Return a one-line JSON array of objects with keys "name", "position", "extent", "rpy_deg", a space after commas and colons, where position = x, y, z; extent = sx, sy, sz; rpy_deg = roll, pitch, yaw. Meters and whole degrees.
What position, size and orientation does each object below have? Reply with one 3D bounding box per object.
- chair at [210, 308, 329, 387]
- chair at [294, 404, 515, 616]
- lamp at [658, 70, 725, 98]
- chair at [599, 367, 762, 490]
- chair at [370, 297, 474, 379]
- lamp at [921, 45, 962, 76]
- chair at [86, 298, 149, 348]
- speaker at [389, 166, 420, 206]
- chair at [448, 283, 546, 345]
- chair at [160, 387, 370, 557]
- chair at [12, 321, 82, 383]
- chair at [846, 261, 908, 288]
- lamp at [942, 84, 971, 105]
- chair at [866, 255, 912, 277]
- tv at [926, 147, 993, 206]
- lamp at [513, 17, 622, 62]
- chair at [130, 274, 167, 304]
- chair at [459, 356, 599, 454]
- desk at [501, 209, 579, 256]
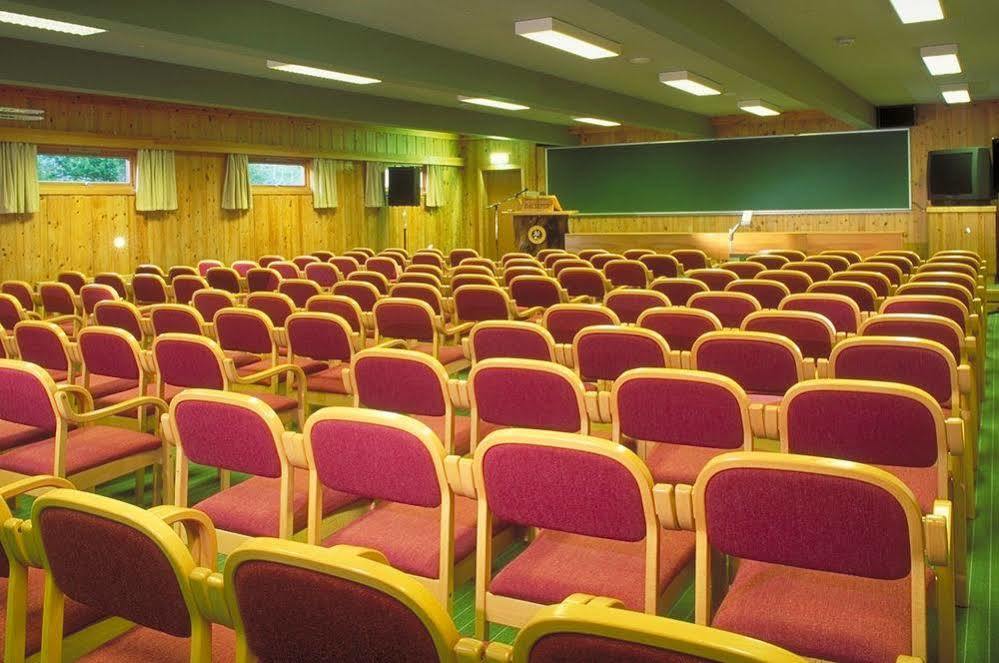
[{"name": "chair", "position": [-1.628, 0.057, 4.947], "extent": [0.526, 0.766, 0.578], "rpy_deg": [6, 15, 21]}, {"name": "chair", "position": [-0.389, 0.493, 2.732], "extent": [0.694, 1.057, 0.761], "rpy_deg": [3, 9, 23]}, {"name": "lamp", "position": [2.977, -3.839, 10.810], "extent": [0.628, 0.152, 1.389], "rpy_deg": [6, 7, 31]}, {"name": "chair", "position": [0.797, 0.362, 2.905], "extent": [0.504, 0.702, 0.530], "rpy_deg": [4, 17, 24]}, {"name": "chair", "position": [-0.643, 0.139, 5.557], "extent": [0.712, 0.917, 0.741], "rpy_deg": [-2, 13, 3]}, {"name": "lamp", "position": [6.066, -3.686, 9.516], "extent": [0.437, 0.148, 0.706], "rpy_deg": [5, -3, 39]}, {"name": "chair", "position": [-2.632, -0.052, 4.774], "extent": [0.293, 0.383, 0.275], "rpy_deg": [9, 24, 5]}, {"name": "speaker", "position": [-1.922, -2.892, 13.839], "extent": [0.625, 0.744, 0.428], "rpy_deg": [1, 7, -11]}, {"name": "chair", "position": [-0.085, -0.186, 5.840], "extent": [0.500, 0.730, 0.530], "rpy_deg": [6, 21, 22]}, {"name": "chair", "position": [-0.977, 0.494, 2.950], "extent": [0.631, 0.923, 0.693], "rpy_deg": [4, 13, 19]}, {"name": "chair", "position": [-2.606, 0.131, 3.977], "extent": [0.296, 0.429, 0.282], "rpy_deg": [9, 16, 8]}, {"name": "chair", "position": [3.439, -0.510, 6.309], "extent": [0.388, 0.176, 0.374], "rpy_deg": [8, 10, 30]}, {"name": "lamp", "position": [7.888, -4.082, 11.947], "extent": [0.496, 0.115, 0.448], "rpy_deg": [13, -12, -37]}, {"name": "chair", "position": [3.925, -0.646, 6.977], "extent": [0.332, 0.331, 0.323], "rpy_deg": [6, 17, 29]}, {"name": "tv", "position": [8.556, -2.865, 12.817], "extent": [0.618, 1.079, 1.128], "rpy_deg": [-7, 6, -41]}, {"name": "lamp", "position": [0.775, -3.264, 7.788], "extent": [0.532, 0.155, 1.431], "rpy_deg": [8, 8, 41]}, {"name": "chair", "position": [-3.817, -0.435, 7.529], "extent": [0.289, 0.360, 0.932], "rpy_deg": [-2, 8, -32]}, {"name": "chair", "position": [0.150, 0.275, 3.118], "extent": [0.382, 0.585, 0.389], "rpy_deg": [3, 14, 19]}, {"name": "desk", "position": [0.782, -1.596, 13.061], "extent": [1.281, 1.276, 0.937], "rpy_deg": [-1, -23, 6]}]
